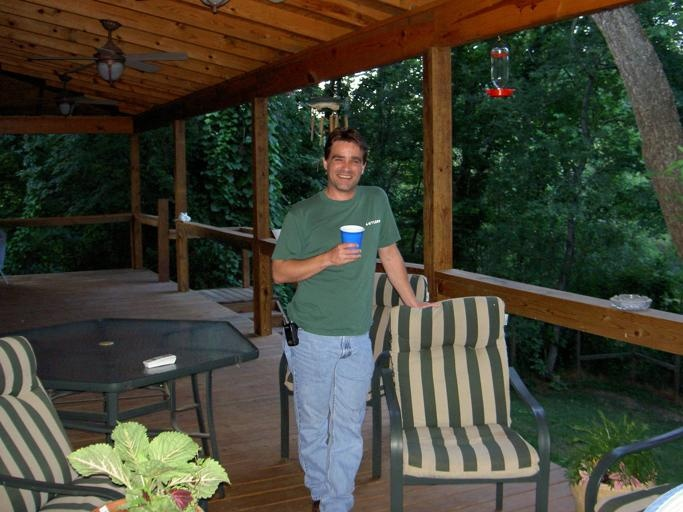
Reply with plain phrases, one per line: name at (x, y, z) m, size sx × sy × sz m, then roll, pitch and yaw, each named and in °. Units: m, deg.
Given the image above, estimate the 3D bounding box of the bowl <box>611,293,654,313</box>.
bowl at (1.701, 0.272, 3.283) m, size 0.214 × 0.095 × 0.291 m, roll 1°, pitch 5°, yaw 24°

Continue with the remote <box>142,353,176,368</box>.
remote at (-0.959, 0.538, 2.895) m, size 0.135 × 0.037 × 0.070 m, roll -2°, pitch 6°, yaw -34°
